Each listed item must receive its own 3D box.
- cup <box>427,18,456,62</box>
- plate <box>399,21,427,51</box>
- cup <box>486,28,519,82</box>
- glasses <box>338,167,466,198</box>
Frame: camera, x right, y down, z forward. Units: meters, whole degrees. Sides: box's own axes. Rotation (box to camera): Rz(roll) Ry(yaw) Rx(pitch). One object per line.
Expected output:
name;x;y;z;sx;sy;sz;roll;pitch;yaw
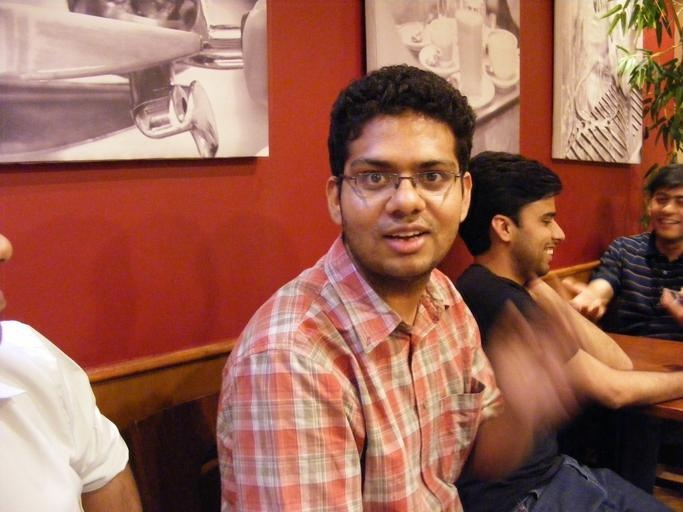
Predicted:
cup;0.486;-1.080;2.901;0.193;0.219;0.187;-3;22;1
plate;0.335;-1.029;2.713;0.129;0.136;0.047;0;-3;-37
cup;0.845;-1.092;3.128;0.170;0.202;0.271;-12;33;6
glasses;0.160;-0.195;1.597;0.308;0.078;0.074;-2;11;3
